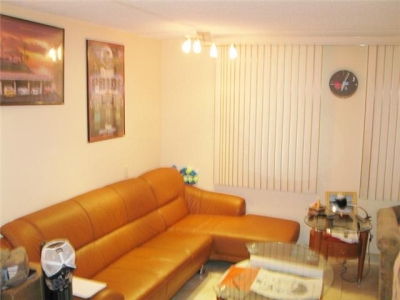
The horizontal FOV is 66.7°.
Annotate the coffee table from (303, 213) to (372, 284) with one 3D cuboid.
[{"bbox_3d":[1.811,1.150,3.984,0.733,0.620,0.825,1,3,22],"label":"coffee table"}]

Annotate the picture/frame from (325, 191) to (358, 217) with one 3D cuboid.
[{"bbox_3d":[1.894,0.733,4.066,0.316,0.277,0.031,1,-20,11],"label":"picture/frame"}]
